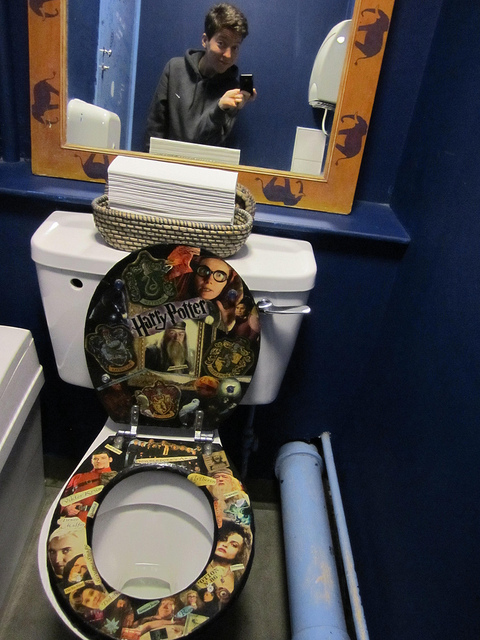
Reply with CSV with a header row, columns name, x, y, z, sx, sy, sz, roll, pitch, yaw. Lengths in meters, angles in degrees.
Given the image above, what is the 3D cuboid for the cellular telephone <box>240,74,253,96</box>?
name,x,y,z,sx,sy,sz,roll,pitch,yaw
cellular telephone,0.014,-0.481,1.062,0.035,0.055,0.005,1,21,5

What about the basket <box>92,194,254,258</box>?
name,x,y,z,sx,sy,sz,roll,pitch,yaw
basket,-0.129,-0.162,0.955,0.196,0.078,0.152,3,27,-1

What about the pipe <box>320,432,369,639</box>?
name,x,y,z,sx,sy,sz,roll,pitch,yaw
pipe,0.217,0.442,1.122,0.041,0.053,0.403,8,52,-21
